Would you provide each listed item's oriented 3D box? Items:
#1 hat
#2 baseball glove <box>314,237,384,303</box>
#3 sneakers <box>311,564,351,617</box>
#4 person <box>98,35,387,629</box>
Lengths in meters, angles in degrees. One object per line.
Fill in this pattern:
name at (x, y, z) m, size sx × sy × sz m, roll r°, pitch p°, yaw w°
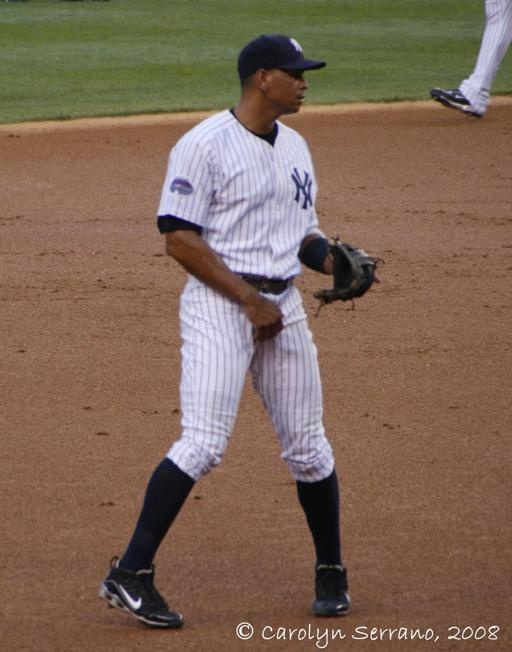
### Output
hat at (0.077, -0.760, 3.011) m, size 0.223 × 0.102 × 0.138 m, roll -13°, pitch 9°, yaw 9°
baseball glove at (0.234, -0.167, 3.123) m, size 0.216 × 0.113 × 0.272 m, roll 2°, pitch 11°, yaw 19°
sneakers at (0.217, 0.775, 2.972) m, size 0.074 × 0.068 × 0.185 m, roll -1°, pitch 2°, yaw 4°
person at (-0.054, 0.073, 3.034) m, size 0.757 × 1.679 × 1.071 m, roll 0°, pitch 28°, yaw 11°
